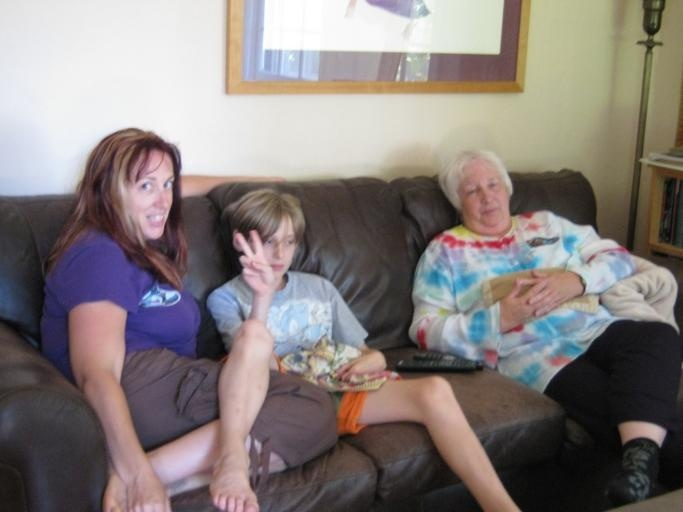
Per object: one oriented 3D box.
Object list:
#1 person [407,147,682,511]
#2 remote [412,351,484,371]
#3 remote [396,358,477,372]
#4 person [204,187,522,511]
[{"bbox_3d":[0.800,0.177,2.303,0.775,0.742,1.289,-11,28,-12],"label":"person"},{"bbox_3d":[0.390,0.394,2.127,0.164,0.035,0.099,6,11,16],"label":"remote"},{"bbox_3d":[0.363,0.407,2.119,0.195,0.031,0.108,1,0,-3],"label":"remote"},{"bbox_3d":[0.104,0.166,2.197,1.426,1.029,0.659,12,20,31],"label":"person"}]
